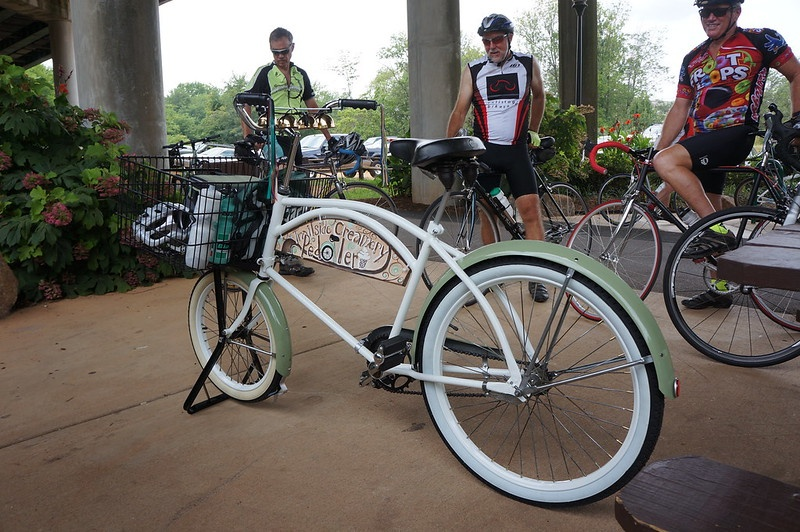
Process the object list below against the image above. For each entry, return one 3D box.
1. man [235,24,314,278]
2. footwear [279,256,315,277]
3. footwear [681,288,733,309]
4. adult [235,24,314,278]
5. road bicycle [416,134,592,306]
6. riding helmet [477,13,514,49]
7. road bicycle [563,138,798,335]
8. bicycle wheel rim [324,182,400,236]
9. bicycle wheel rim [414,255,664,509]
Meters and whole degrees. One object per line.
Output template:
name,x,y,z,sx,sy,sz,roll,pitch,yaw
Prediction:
man,-1.307,-1.577,6.203,0.642,1.931,0.549,-5,10,-25
footwear,-1.226,-0.030,6.115,0.473,0.183,0.276,11,23,36
footwear,2.734,0.308,4.840,0.462,0.251,0.164,3,6,21
adult,-1.288,-1.534,6.101,0.695,2.221,0.536,-2,-4,-30
road bicycle,0.752,-0.473,5.170,1.003,1.480,2.219,13,10,25
riding helmet,0.906,-2.240,4.992,0.324,0.220,0.228,-2,16,0
road bicycle,2.301,-0.549,4.565,0.495,1.128,1.671,17,-16,-31
bicycle wheel rim,-0.382,-0.761,6.695,1.027,0.725,0.536,3,13,2
bicycle wheel rim,0.957,0.452,3.240,1.310,1.267,1.433,7,18,29
